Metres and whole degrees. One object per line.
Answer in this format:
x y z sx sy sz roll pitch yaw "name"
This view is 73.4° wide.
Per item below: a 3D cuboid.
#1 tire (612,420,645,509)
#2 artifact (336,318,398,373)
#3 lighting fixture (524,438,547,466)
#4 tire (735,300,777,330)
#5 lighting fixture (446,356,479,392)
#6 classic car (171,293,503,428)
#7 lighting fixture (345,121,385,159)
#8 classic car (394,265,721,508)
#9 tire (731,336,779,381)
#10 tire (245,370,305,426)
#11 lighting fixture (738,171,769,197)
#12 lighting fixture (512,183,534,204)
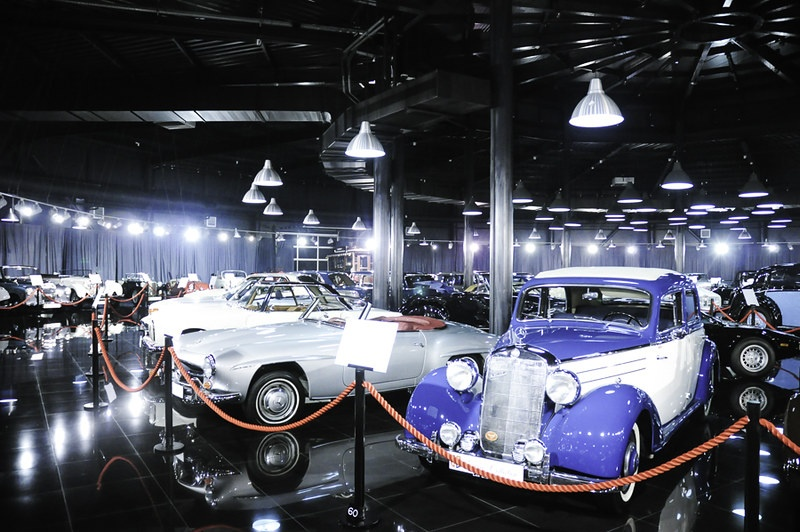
2.673 2.314 6.310 0.154 0.911 0.710 7 13 38 "tire"
-0.395 0.897 6.149 0.646 0.536 0.307 5 12 28 "artifact"
1.561 2.103 6.090 0.261 0.260 0.156 15 6 24 "lighting fixture"
8.004 1.089 12.075 0.609 0.602 0.229 -2 -10 -13 "tire"
0.768 1.371 6.766 0.451 0.464 0.259 -3 -1 37 "lighting fixture"
-1.107 1.501 8.520 3.761 1.205 2.278 1 -6 -23 "classic car"
-0.759 -2.636 11.041 0.769 0.576 0.726 -4 12 -26 "lighting fixture"
2.646 1.404 7.510 2.414 1.933 4.386 -6 -7 43 "classic car"
6.221 1.595 9.457 0.779 0.773 0.305 -3 -6 23 "tire"
-1.887 1.910 7.866 0.811 0.802 0.314 6 -2 -23 "tire"
10.730 -2.504 16.365 0.607 0.645 0.965 6 12 31 "lighting fixture"
4.158 -2.531 18.546 0.484 0.816 1.867 1 11 11 "lighting fixture"
